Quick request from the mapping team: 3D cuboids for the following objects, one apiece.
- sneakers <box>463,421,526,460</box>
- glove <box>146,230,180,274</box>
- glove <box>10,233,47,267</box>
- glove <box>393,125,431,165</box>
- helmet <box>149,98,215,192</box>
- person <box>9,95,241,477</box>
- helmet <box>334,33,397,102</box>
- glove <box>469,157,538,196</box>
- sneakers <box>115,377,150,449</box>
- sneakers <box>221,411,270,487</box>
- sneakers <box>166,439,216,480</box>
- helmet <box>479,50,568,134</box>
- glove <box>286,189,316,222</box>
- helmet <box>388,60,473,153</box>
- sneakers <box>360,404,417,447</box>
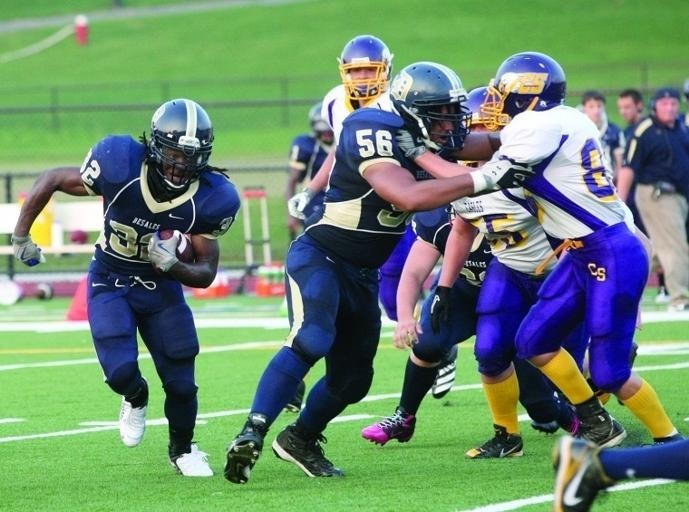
[{"bbox_3d":[0.781,0.997,4.379,0.392,0.189,0.128,0,4,-9],"label":"sneakers"},{"bbox_3d":[-0.907,-0.020,4.043,0.145,0.063,0.197,-2,51,14],"label":"glove"},{"bbox_3d":[-1.804,-0.046,4.585,0.094,0.146,0.194,-27,25,-14],"label":"glove"},{"bbox_3d":[0.317,-0.523,3.973,0.177,0.068,0.129,39,17,-24],"label":"glove"},{"bbox_3d":[-0.830,-0.556,4.094,0.332,0.444,0.464,12,16,-16],"label":"helmet"},{"bbox_3d":[-0.948,0.148,4.206,0.822,1.901,0.489,-2,5,-8],"label":"person"},{"bbox_3d":[0.165,-1.394,6.071,0.413,0.445,0.503,-1,8,8],"label":"helmet"},{"bbox_3d":[0.753,-0.392,3.920,0.364,0.158,0.139,-3,5,-22],"label":"glove"},{"bbox_3d":[-1.108,0.839,4.249,0.131,0.389,0.167,1,11,6],"label":"sneakers"},{"bbox_3d":[-0.397,0.869,3.725,0.137,0.367,0.189,27,16,4],"label":"sneakers"},{"bbox_3d":[-0.791,1.027,4.169,0.222,0.149,0.259,-2,4,-12],"label":"sneakers"},{"bbox_3d":[0.956,-0.902,4.399,0.465,0.374,0.348,2,9,26],"label":"helmet"},{"bbox_3d":[-0.329,-0.357,5.812,0.087,0.182,0.246,-39,13,53],"label":"glove"},{"bbox_3d":[0.475,-0.761,4.157,0.421,0.405,0.378,18,22,15],"label":"helmet"},{"bbox_3d":[0.272,0.943,4.641,0.384,0.223,0.134,0,26,-31],"label":"sneakers"}]
